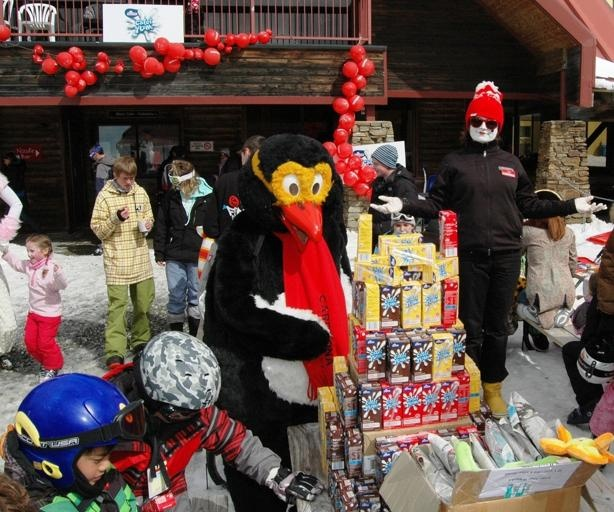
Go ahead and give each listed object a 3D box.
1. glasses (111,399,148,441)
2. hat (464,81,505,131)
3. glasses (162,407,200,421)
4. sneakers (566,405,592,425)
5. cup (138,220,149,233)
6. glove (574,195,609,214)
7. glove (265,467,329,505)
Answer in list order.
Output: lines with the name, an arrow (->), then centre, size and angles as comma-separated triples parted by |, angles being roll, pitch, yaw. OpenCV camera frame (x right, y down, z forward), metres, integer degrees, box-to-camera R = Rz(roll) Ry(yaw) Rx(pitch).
glasses -> -0.642, 0.606, 1.943 | 0.127, 0.077, 0.100 | -6, 23, 5
hat -> 1.249, -1.066, 3.726 | 0.241, 0.334, 0.280 | 3, 12, 16
glasses -> -0.527, 0.651, 2.238 | 0.112, 0.059, 0.098 | -20, -14, 24
sneakers -> 1.880, 1.109, 3.669 | 0.142, 0.177, 0.133 | 6, 12, 27
cup -> -1.541, -0.290, 4.974 | 0.098, 0.094, 0.078 | 7, -9, -38
glove -> 1.836, -0.339, 3.463 | 0.170, 0.107, 0.392 | 6, 13, 26
glove -> -0.060, 1.040, 2.418 | 0.197, 0.066, 0.169 | 11, 38, 8
